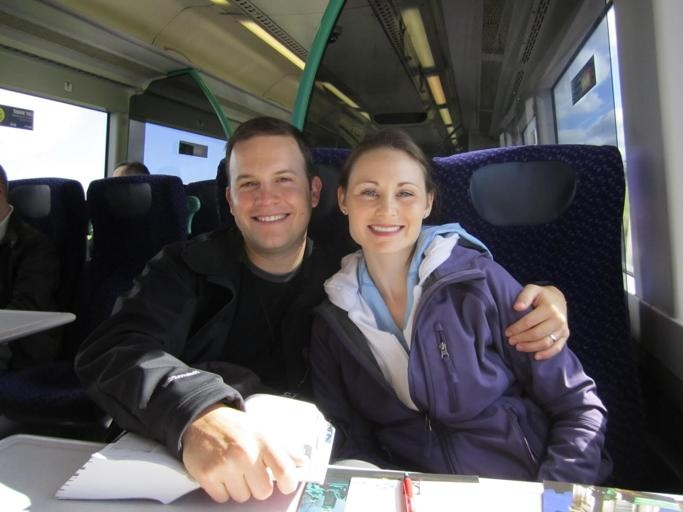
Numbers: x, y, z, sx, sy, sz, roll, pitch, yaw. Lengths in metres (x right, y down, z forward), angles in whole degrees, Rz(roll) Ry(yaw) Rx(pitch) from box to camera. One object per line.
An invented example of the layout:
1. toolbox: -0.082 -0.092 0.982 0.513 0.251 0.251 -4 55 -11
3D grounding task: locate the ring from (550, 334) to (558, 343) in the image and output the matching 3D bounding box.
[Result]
1. ring: 0.594 0.228 1.387 0.015 0.019 0.018 11 -7 -3
